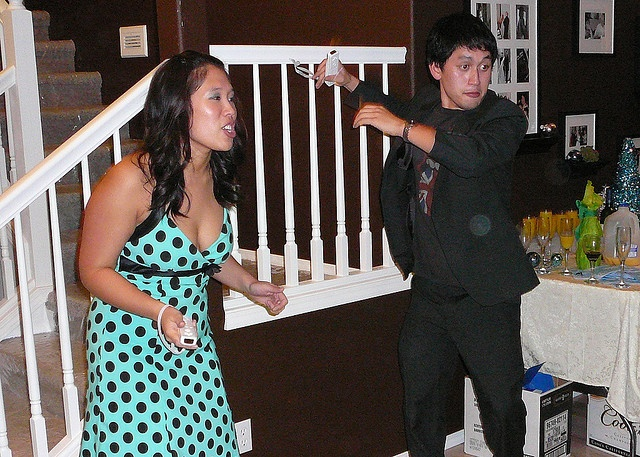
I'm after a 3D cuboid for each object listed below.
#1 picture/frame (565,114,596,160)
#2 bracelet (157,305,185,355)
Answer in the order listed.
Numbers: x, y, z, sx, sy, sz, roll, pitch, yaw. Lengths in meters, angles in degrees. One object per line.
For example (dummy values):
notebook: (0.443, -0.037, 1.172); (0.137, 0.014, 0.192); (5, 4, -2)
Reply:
picture/frame: (1.965, -0.691, 4.374); (0.347, 0.378, 0.026); (-2, 1, -42)
bracelet: (-0.465, 0.313, 1.799); (0.112, 0.173, 0.039); (-7, 1, 39)
